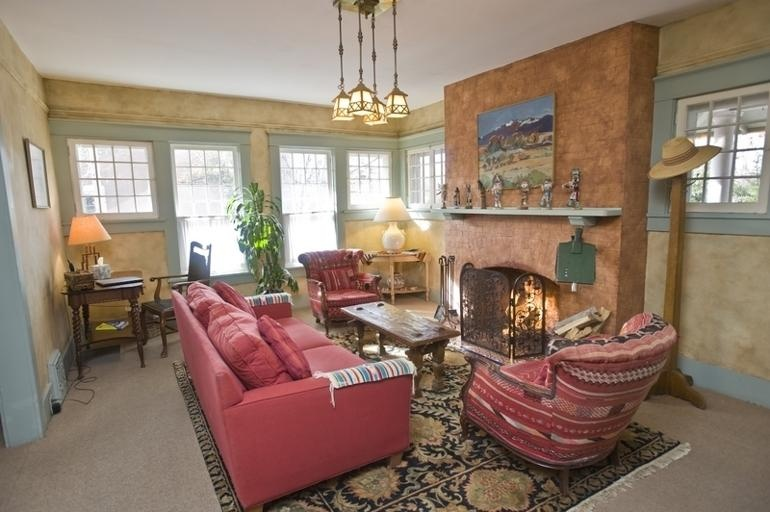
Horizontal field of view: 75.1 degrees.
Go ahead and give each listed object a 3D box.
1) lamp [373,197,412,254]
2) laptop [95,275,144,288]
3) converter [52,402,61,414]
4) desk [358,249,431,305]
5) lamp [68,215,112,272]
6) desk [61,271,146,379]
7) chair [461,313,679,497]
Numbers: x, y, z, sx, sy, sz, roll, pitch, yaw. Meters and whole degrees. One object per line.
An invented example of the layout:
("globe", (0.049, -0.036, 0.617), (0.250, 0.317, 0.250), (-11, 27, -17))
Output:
("lamp", (0.107, -0.528, 8.439), (0.561, 0.938, 0.942), (-5, 8, -1))
("laptop", (-3.167, 0.307, 5.960), (0.465, 0.106, 0.250), (-9, 8, -37))
("converter", (-3.386, 1.555, 5.146), (0.113, 0.113, 0.086), (0, 6, -33))
("desk", (0.178, 0.309, 8.624), (0.984, 0.696, 0.995), (-3, 5, -27))
("lamp", (-3.866, -0.172, 6.528), (0.431, 0.722, 0.751), (-10, 9, -32))
("desk", (-3.447, 0.823, 6.390), (1.096, 1.142, 1.272), (-4, 5, -32))
("chair", (1.588, 1.126, 4.654), (1.489, 1.350, 1.645), (-4, 8, -28))
